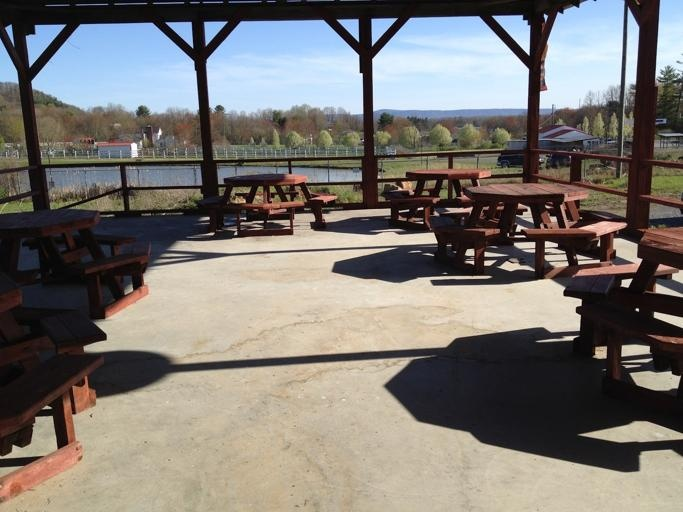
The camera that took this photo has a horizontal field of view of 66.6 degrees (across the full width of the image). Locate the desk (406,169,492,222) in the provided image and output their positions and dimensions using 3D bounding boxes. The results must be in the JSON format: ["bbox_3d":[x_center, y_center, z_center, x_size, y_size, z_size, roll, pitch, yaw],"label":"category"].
[{"bbox_3d":[1.633,-1.120,8.084,1.248,0.571,1.270,7,13,38],"label":"desk"}]
